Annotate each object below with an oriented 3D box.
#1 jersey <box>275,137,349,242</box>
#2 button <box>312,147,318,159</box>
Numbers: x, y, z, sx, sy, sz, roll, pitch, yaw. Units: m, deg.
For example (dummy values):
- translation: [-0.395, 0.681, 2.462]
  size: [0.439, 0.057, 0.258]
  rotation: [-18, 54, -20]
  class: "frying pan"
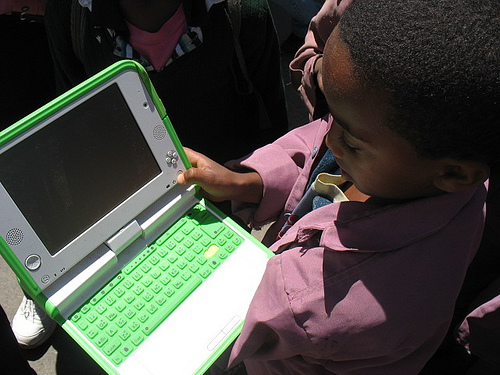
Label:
- translation: [0.240, 0.042, 1.577]
  size: [0.204, 0.348, 0.198]
  rotation: [-19, 45, -27]
  class: "jersey"
- translation: [0.237, -0.134, 1.596]
  size: [0.007, 0.031, 0.023]
  rotation: [29, 19, -16]
  class: "button"
